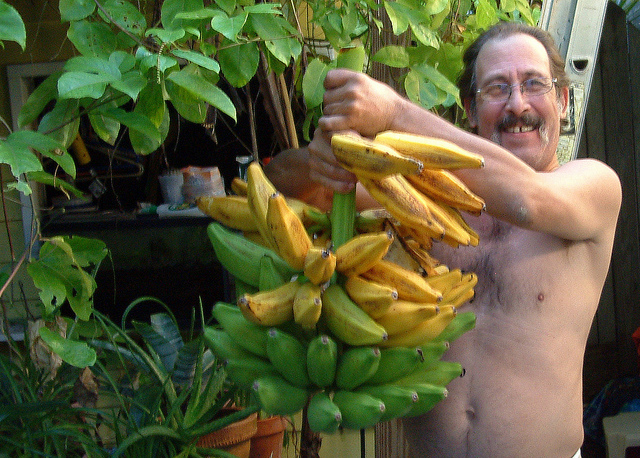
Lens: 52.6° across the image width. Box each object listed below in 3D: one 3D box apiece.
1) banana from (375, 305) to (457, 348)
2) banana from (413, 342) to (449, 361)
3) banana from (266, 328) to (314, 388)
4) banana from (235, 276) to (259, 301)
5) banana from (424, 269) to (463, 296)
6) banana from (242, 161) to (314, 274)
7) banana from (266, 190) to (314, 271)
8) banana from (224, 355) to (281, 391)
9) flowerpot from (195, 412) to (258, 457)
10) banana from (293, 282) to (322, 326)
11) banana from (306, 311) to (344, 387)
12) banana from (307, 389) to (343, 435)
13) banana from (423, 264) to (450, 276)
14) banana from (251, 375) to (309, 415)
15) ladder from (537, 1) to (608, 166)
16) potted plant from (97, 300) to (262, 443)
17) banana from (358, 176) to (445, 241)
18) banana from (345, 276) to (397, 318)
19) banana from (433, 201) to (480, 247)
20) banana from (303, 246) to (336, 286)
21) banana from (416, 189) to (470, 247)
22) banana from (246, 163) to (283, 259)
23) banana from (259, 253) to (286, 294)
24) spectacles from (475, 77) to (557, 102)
[{"bbox_3d":[0.227,0.269,1.912,0.233,0.071,0.093,-3,-40,-11],"label":"banana"},{"bbox_3d":[0.335,0.354,1.940,0.124,0.049,0.052,-2,-2,-27],"label":"banana"},{"bbox_3d":[-0.085,0.372,1.904,0.068,0.227,0.071,-36,17,-4],"label":"banana"},{"bbox_3d":[-0.229,0.178,2.032,0.072,0.056,0.021,2,8,36],"label":"banana"},{"bbox_3d":[0.373,0.150,1.929,0.155,0.057,0.052,-10,6,-43],"label":"banana"},{"bbox_3d":[-0.120,-0.035,1.876,0.204,0.321,0.112,-1,0,35],"label":"banana"},{"bbox_3d":[-0.093,0.002,1.829,0.096,0.274,0.076,-15,-3,-43],"label":"banana"},{"bbox_3d":[-0.207,0.403,1.903,0.080,0.079,0.259,5,-6,-2],"label":"banana"},{"bbox_3d":[-0.329,0.763,2.387,0.159,0.149,0.178,-1,-4,-2],"label":"flowerpot"},{"bbox_3d":[-0.037,0.212,1.825,0.078,0.122,0.064,-1,0,-5],"label":"banana"},{"bbox_3d":[0.008,0.368,1.873,0.067,0.260,0.083,30,43,35],"label":"banana"},{"bbox_3d":[0.009,0.531,1.850,0.080,0.053,0.150,28,-29,1],"label":"banana"},{"bbox_3d":[0.368,0.128,2.005,0.027,0.038,0.117,0,-3,27],"label":"banana"},{"bbox_3d":[-0.114,0.481,1.869,0.170,0.110,0.061,12,2,-30],"label":"banana"},{"bbox_3d":[1.179,-0.692,3.009,0.302,0.702,0.113,-1,0,-9],"label":"ladder"},{"bbox_3d":[-0.518,0.542,2.367,0.575,0.496,0.613,1,1,-18],"label":"potted plant"},{"bbox_3d":[0.243,-0.061,1.881,0.059,0.173,0.055,-48,2,-31],"label":"banana"},{"bbox_3d":[0.142,0.187,1.840,0.191,0.072,0.075,17,41,40],"label":"banana"},{"bbox_3d":[0.406,-0.016,1.940,0.029,0.142,0.037,-31,-15,-38],"label":"banana"},{"bbox_3d":[-0.003,0.102,1.811,0.076,0.104,0.139,1,-17,-7],"label":"banana"},{"bbox_3d":[0.416,-0.073,2.141,0.127,0.174,0.614,17,15,7],"label":"banana"},{"bbox_3d":[-0.175,-0.075,1.933,0.077,0.300,0.096,-18,-6,7],"label":"banana"},{"bbox_3d":[-0.145,0.133,1.947,0.061,0.113,0.038,-23,-10,17],"label":"banana"},{"bbox_3d":[0.773,-0.547,2.543,0.291,0.084,0.059,-2,0,12],"label":"spectacles"}]
